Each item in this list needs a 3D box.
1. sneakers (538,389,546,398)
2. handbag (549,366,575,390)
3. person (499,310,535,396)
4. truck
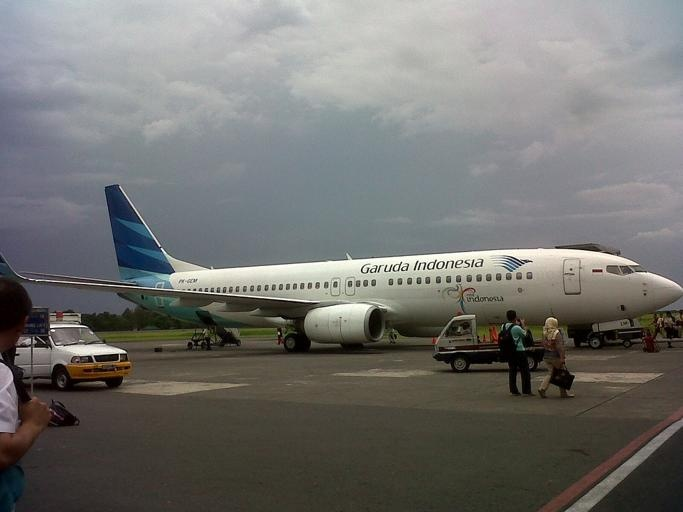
[{"bbox_3d":[4.064,2.774,11.203,0.128,0.181,0.249,-3,-6,15],"label":"sneakers"},{"bbox_3d":[4.384,2.462,10.986,0.417,0.428,0.415,-2,-6,2],"label":"handbag"},{"bbox_3d":[3.685,2.054,11.817,0.589,1.742,0.745,-3,-6,15],"label":"person"},{"bbox_3d":[4.245,2.543,16.432,2.933,1.333,1.735,0,-7,8],"label":"truck"}]
